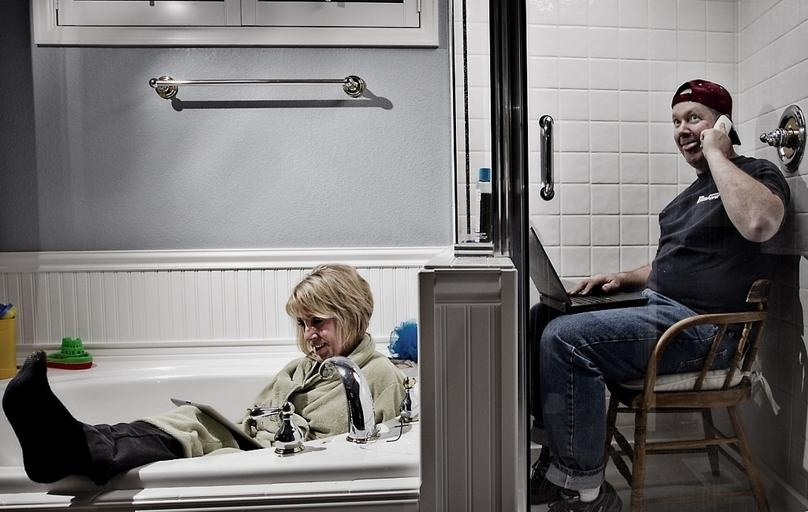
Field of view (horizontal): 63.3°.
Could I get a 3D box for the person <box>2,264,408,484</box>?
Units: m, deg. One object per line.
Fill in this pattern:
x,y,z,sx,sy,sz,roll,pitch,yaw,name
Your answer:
-0.520,0.295,2.086,1.209,0.688,0.552,1,-1,-27,person

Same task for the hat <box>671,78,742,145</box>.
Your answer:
0.733,-0.359,1.641,0.109,0.156,0.150,8,10,6,hat

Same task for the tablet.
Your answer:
-0.544,0.456,2.031,0.340,0.160,0.311,4,5,-19,tablet

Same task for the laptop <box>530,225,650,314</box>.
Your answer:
0.451,0.018,1.740,0.317,0.236,0.305,-9,5,10,laptop
